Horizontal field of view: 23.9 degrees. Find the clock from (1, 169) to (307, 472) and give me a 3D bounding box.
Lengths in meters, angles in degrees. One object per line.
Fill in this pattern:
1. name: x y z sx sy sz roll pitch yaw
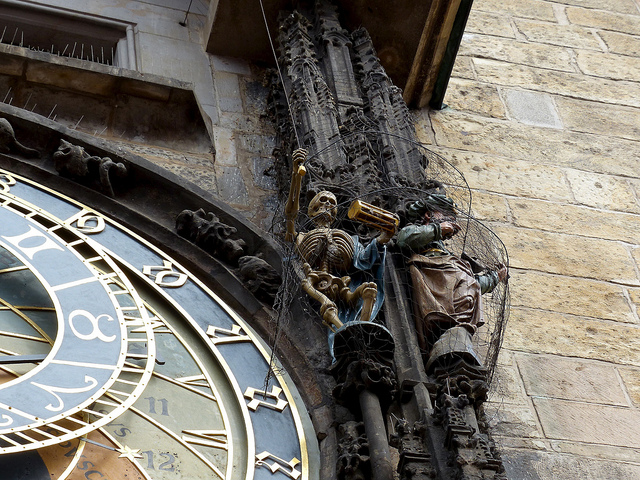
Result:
1. clock: -1.010 0.543 9.088 1.821 1.696 0.190 28 -65 -28
